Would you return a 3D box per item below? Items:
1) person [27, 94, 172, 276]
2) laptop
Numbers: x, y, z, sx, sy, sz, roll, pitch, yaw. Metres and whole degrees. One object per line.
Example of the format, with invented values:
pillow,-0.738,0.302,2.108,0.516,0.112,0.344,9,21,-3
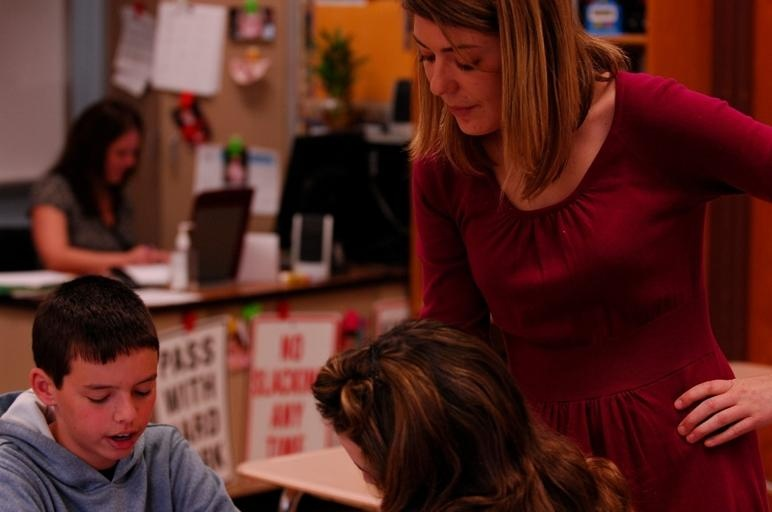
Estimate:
person,-1.295,-0.301,3.712,0.480,0.839,0.550,5,2,23
laptop,-0.834,-0.092,3.527,0.481,0.774,0.080,-2,31,-30
